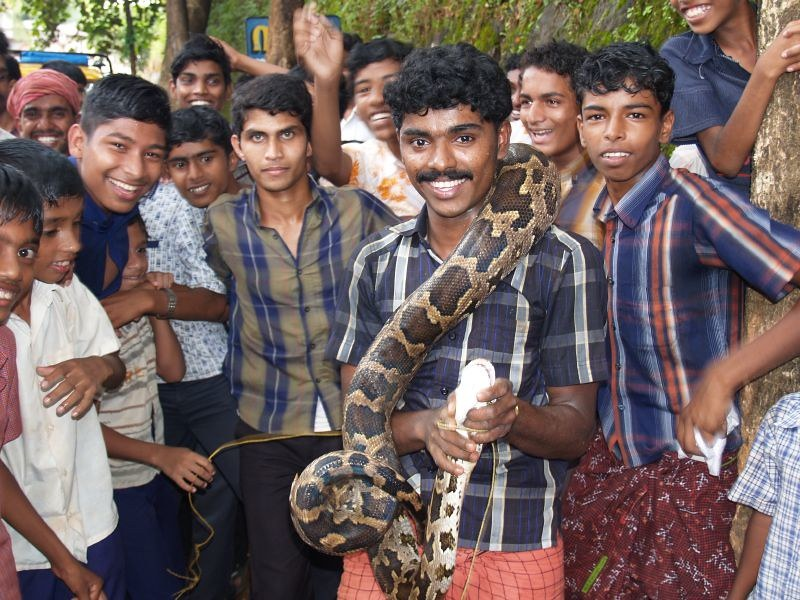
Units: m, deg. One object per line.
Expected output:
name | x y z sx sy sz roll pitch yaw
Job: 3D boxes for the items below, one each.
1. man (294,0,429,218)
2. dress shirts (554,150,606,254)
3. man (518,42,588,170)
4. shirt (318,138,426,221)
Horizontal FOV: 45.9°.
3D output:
man | -0.417 -2.403 10.225 1.458 0.912 2.236 8 53 8
dress shirts | 1.778 -0.982 9.542 0.708 1.059 0.552 3 -10 14
man | 1.603 -1.972 9.914 0.730 1.370 0.697 -9 11 -23
shirt | -0.218 -1.365 10.352 1.086 0.826 0.383 41 -5 3
